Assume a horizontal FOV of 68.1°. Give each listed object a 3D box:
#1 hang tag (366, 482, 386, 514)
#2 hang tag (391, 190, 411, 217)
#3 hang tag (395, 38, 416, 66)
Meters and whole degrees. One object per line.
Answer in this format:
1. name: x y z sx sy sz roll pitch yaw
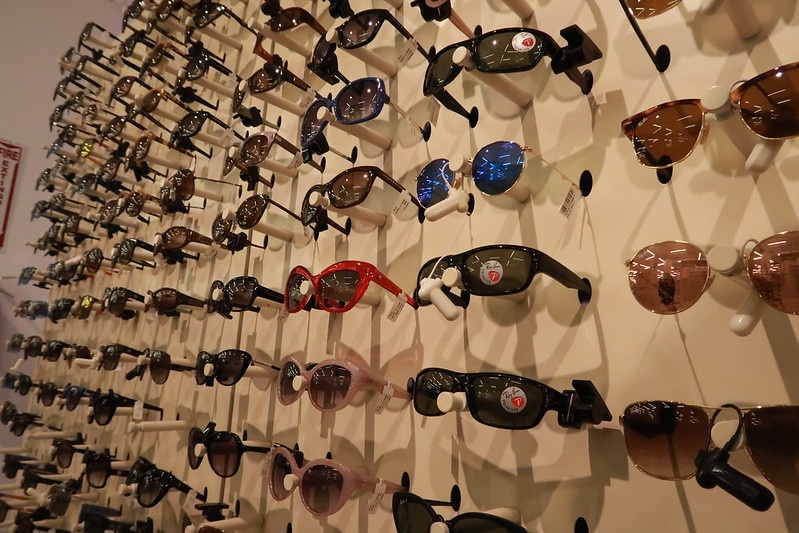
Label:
1. hang tag: -0.060 0.720 1.786 0.076 0.025 0.086 -6 -45 -11
2. hang tag: 0.016 -0.208 1.974 0.022 0.072 0.073 -19 -32 -39
3. hang tag: 0.021 -0.707 1.932 0.020 0.069 0.068 16 -56 -8
